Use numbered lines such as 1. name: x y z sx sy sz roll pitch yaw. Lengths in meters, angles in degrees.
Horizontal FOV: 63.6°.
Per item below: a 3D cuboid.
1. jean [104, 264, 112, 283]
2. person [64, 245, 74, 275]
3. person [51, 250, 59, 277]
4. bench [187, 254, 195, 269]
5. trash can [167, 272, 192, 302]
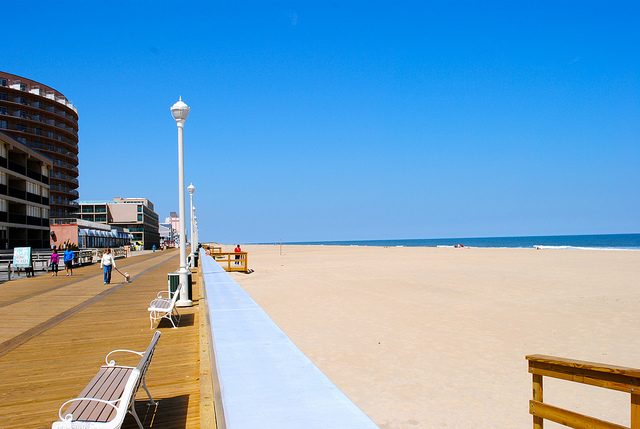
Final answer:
1. jean: -9.949 2.690 24.048 0.257 0.923 0.664 2 1 -17
2. person: -14.654 2.663 30.025 0.307 1.563 1.218 2 1 -21
3. person: -15.723 2.729 30.425 0.318 1.470 1.198 1 1 -27
4. bench: -8.108 2.810 32.511 0.309 0.879 1.881 2 1 -14
5. trash can: -4.997 2.527 18.034 1.040 1.436 1.053 0 -1 -16
